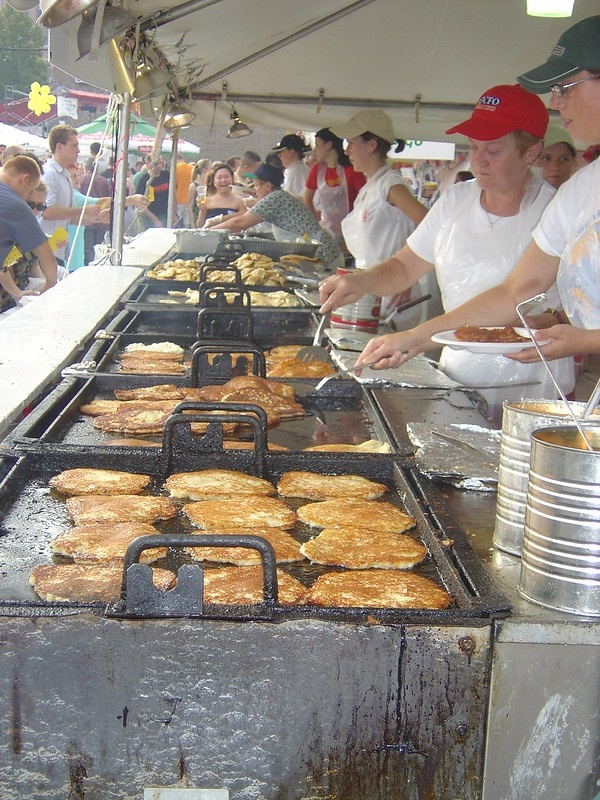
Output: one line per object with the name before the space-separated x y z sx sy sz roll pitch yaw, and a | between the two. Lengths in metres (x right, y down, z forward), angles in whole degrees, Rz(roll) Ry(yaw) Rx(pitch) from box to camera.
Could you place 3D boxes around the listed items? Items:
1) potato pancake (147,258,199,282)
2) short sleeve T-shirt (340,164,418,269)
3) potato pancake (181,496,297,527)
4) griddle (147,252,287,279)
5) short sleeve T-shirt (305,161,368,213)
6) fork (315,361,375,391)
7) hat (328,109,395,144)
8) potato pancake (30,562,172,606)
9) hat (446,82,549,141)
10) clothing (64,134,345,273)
potato pancake | -0.922 -0.916 5.153 0.396 0.101 0.354 0 19 10
short sleeve T-shirt | 0.550 -1.266 5.047 0.317 0.700 0.621 1 6 -31
potato pancake | -0.117 0.225 1.420 0.103 0.010 0.097 11 9 26
griddle | -0.674 -0.982 5.316 0.629 0.124 0.560 0 17 1
short sleeve T-shirt | 0.408 -2.207 7.517 0.795 0.558 0.242 11 50 22
fork | 0.164 -0.080 2.502 0.242 0.039 0.035 -25 -5 -22
hat | 0.432 -1.809 4.789 0.393 0.174 0.228 1 25 -15
potato pancake | -0.288 0.264 1.020 0.099 0.012 0.130 -5 7 -45
hat | 0.770 -1.112 2.767 0.435 0.218 0.263 -10 32 -30
clothing | -0.445 -1.905 7.308 1.960 1.240 1.078 4 11 12
